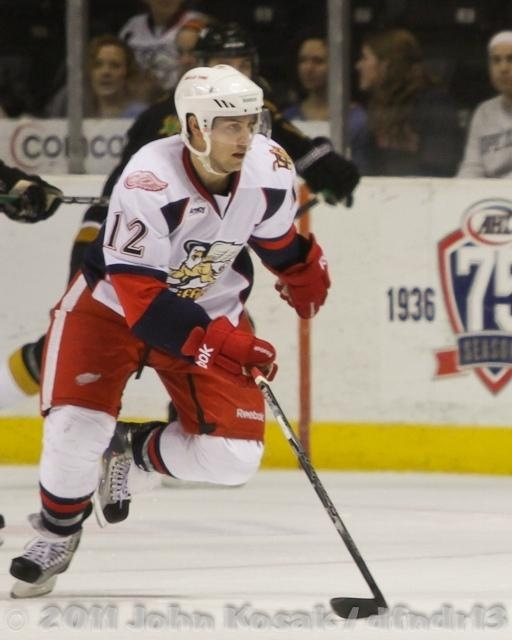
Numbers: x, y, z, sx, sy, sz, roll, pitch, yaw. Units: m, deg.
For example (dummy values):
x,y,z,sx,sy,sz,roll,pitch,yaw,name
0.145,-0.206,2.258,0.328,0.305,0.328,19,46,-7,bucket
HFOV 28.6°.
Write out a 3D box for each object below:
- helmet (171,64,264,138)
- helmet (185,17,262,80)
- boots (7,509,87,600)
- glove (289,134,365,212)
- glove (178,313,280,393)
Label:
x,y,z,sx,sy,sz,roll,pitch,yaw,name
-0.145,-0.614,2.843,0.294,0.207,0.212,0,10,35,helmet
-0.128,-1.052,3.964,0.267,0.199,0.249,0,-21,-7,helmet
-0.638,0.699,2.916,0.102,0.161,0.304,31,2,4,boots
0.251,-0.513,3.595,0.214,0.285,0.128,-38,-12,-36,glove
-0.052,0.084,2.837,0.213,0.216,0.317,4,12,12,glove
